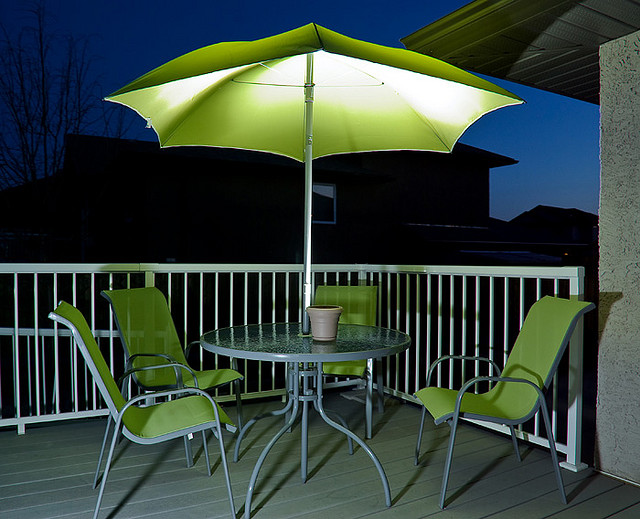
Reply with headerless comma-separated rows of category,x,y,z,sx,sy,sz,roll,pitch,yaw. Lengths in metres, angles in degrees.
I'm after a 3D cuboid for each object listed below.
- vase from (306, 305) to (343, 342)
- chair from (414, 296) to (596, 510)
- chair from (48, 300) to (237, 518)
vase,0.025,0.413,3.580,0.241,0.180,0.226,-1,-5,20
chair,1.165,0.881,3.660,1.061,1.131,0.847,-2,-1,-7
chair,-1.077,0.769,3.922,1.506,1.656,1.069,-2,1,-15
